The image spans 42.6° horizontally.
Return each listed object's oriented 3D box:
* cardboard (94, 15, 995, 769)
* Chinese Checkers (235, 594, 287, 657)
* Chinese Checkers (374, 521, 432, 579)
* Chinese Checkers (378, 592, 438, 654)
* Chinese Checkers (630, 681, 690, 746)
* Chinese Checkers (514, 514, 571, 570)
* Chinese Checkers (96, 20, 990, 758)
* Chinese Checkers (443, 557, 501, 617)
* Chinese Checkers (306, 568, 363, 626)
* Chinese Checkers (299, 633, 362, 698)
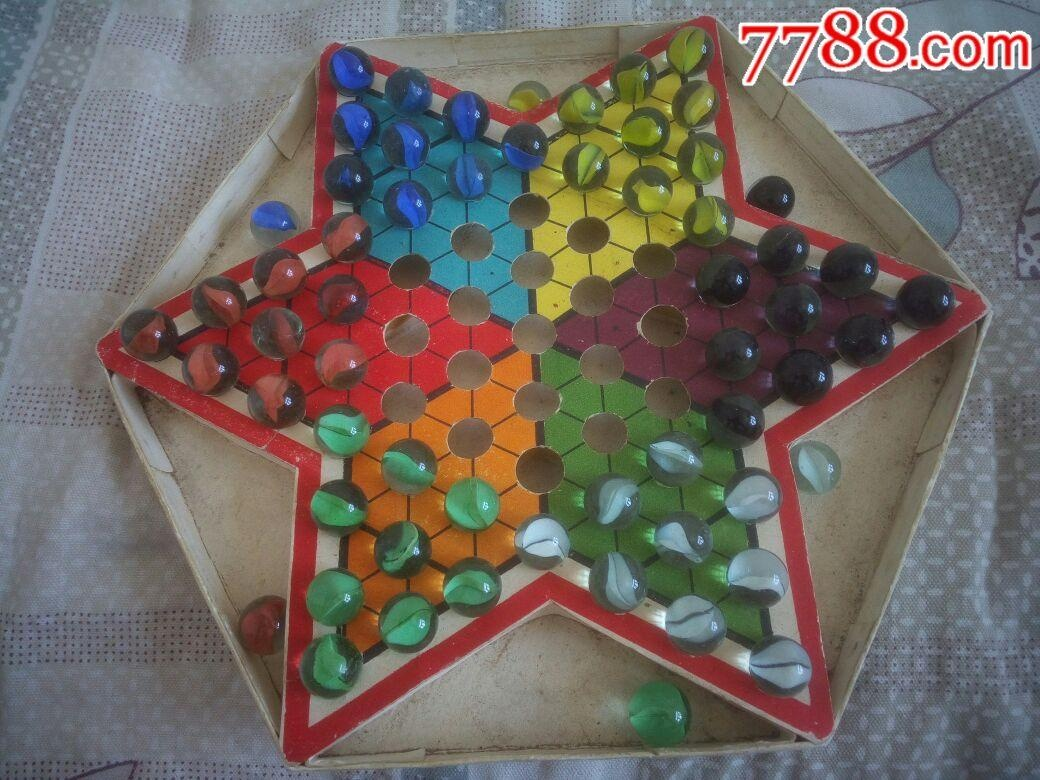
[{"bbox_3d":[0.157,-0.651,4.975,3.512,1.802,3.224,0,65,-1],"label":"cardboard"},{"bbox_3d":[-0.708,0.652,3.712,0.080,0.143,0.151,4,116,6],"label":"Chinese Checkers"},{"bbox_3d":[-0.323,0.444,3.710,0.152,0.107,0.146,-42,83,-4],"label":"Chinese Checkers"},{"bbox_3d":[-0.302,0.636,3.660,0.155,0.107,0.157,-42,83,-4],"label":"Chinese Checkers"},{"bbox_3d":[0.386,0.892,3.675,0.165,0.102,0.173,-3,83,2],"label":"Chinese Checkers"},{"bbox_3d":[0.061,0.418,3.659,0.109,0.148,0.128,1,90,10],"label":"Chinese Checkers"},{"bbox_3d":[0.032,0.019,4.092,2.236,0.436,2.239,-4,69,4],"label":"Chinese Checkers"},{"bbox_3d":[-0.130,0.539,3.688,0.134,0.082,0.155,2,70,-1],"label":"Chinese Checkers"},{"bbox_3d":[-0.507,0.571,3.685,0.153,0.090,0.148,-42,83,-4],"label":"Chinese Checkers"},{"bbox_3d":[-0.515,0.752,3.637,0.159,0.078,0.163,24,84,4],"label":"Chinese Checkers"}]
